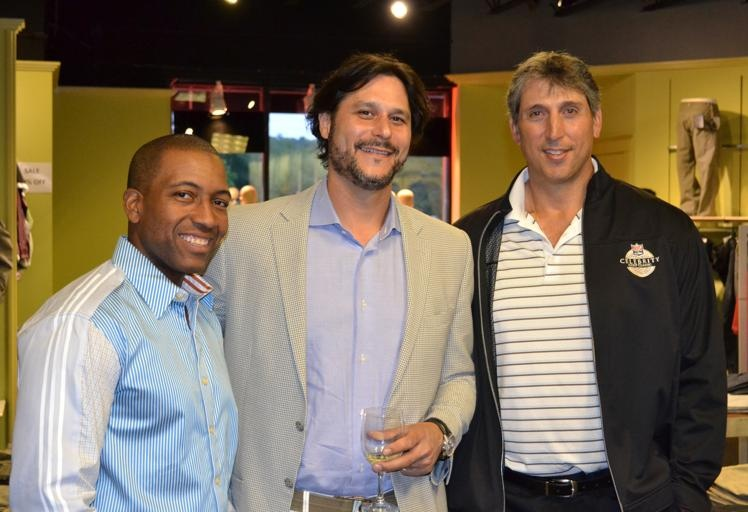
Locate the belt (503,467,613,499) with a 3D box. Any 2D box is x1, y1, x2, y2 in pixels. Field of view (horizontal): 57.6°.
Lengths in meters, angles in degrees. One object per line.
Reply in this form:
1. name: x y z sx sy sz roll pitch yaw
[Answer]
1. belt: 0.852 1.046 3.130 0.477 0.084 0.065 -1 0 10
